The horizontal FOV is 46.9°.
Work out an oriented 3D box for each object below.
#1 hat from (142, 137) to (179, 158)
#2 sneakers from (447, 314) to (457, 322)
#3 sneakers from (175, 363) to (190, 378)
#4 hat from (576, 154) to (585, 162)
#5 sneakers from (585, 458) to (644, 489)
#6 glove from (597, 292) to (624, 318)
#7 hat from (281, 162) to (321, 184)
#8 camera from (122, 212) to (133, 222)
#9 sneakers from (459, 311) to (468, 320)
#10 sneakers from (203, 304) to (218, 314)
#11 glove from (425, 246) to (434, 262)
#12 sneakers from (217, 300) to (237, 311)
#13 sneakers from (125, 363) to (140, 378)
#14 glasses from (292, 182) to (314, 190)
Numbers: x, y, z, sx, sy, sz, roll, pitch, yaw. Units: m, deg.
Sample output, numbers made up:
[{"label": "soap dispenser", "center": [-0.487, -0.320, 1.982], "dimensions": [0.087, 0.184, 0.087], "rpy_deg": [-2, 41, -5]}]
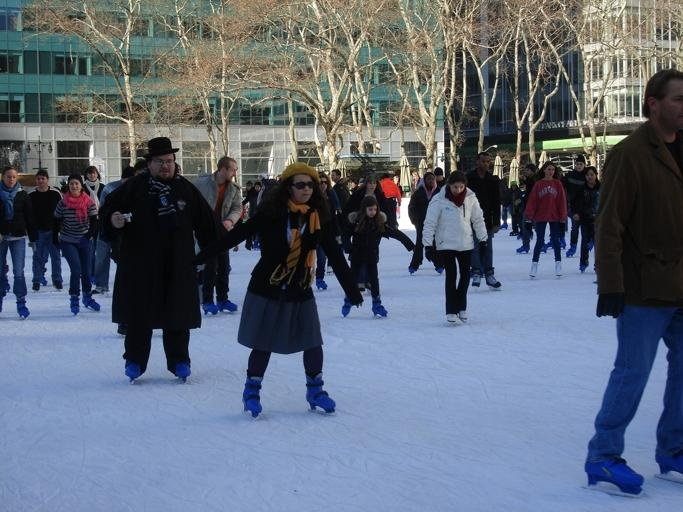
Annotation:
[{"label": "hat", "center": [-1.842, -1.096, 8.000], "dimensions": [0.304, 0.213, 0.497], "rpy_deg": [-3, 7, -13]}, {"label": "sneakers", "center": [1.552, 0.857, 11.069], "dimensions": [0.109, 0.089, 0.114], "rpy_deg": [0, -4, -5]}, {"label": "sneakers", "center": [-1.637, 1.173, 8.176], "dimensions": [0.138, 0.144, 0.142], "rpy_deg": [-6, -14, 32]}, {"label": "hat", "center": [5.294, -2.152, 17.527], "dimensions": [0.179, 0.194, 0.193], "rpy_deg": [0, 4, -39]}, {"label": "sneakers", "center": [1.801, 1.444, 5.303], "dimensions": [0.405, 0.236, 0.177], "rpy_deg": [-3, -5, 36]}, {"label": "glove", "center": [1.735, 0.308, 5.076], "dimensions": [0.161, 0.175, 0.177], "rpy_deg": [1, 7, 20]}, {"label": "hat", "center": [-0.380, -0.745, 7.014], "dimensions": [0.353, 0.168, 0.346], "rpy_deg": [-1, 7, -2]}, {"label": "camera", "center": [-2.136, -0.396, 7.830], "dimensions": [0.084, 0.058, 0.089], "rpy_deg": [-9, -14, 19]}, {"label": "sneakers", "center": [1.742, 0.830, 11.176], "dimensions": [0.139, 0.142, 0.139], "rpy_deg": [-1, -5, 2]}, {"label": "sneakers", "center": [-2.126, 0.828, 12.504], "dimensions": [0.124, 0.190, 0.339], "rpy_deg": [1, -6, -42]}, {"label": "glove", "center": [1.289, -0.041, 11.518], "dimensions": [0.118, 0.222, 0.293], "rpy_deg": [0, 7, 6]}, {"label": "sneakers", "center": [-1.801, 0.790, 12.639], "dimensions": [0.375, 0.214, 0.133], "rpy_deg": [-1, 10, 4]}, {"label": "sneakers", "center": [-2.142, 1.151, 8.052], "dimensions": [0.147, 0.158, 0.136], "rpy_deg": [-4, -9, 31]}, {"label": "glasses", "center": [-0.338, -0.618, 6.906], "dimensions": [0.189, 0.064, 0.093], "rpy_deg": [-2, 7, -5]}]
